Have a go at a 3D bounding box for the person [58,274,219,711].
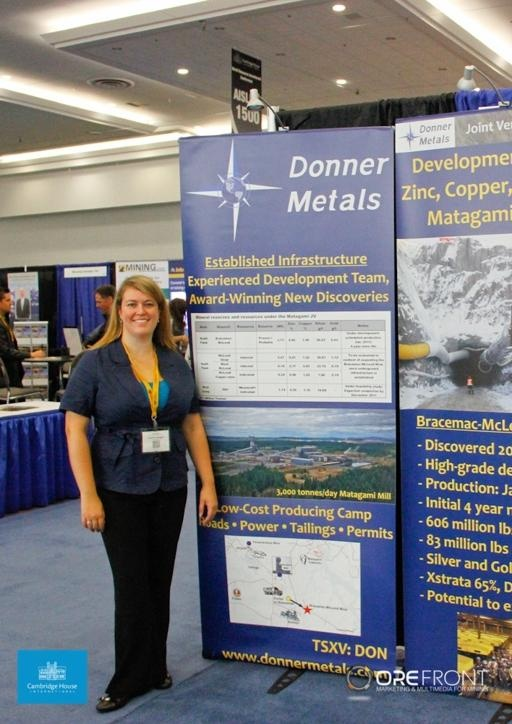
[{"bbox_3d":[-0.382,0.410,1.993,0.429,1.366,0.243,-4,5,-18],"label":"person"}]
